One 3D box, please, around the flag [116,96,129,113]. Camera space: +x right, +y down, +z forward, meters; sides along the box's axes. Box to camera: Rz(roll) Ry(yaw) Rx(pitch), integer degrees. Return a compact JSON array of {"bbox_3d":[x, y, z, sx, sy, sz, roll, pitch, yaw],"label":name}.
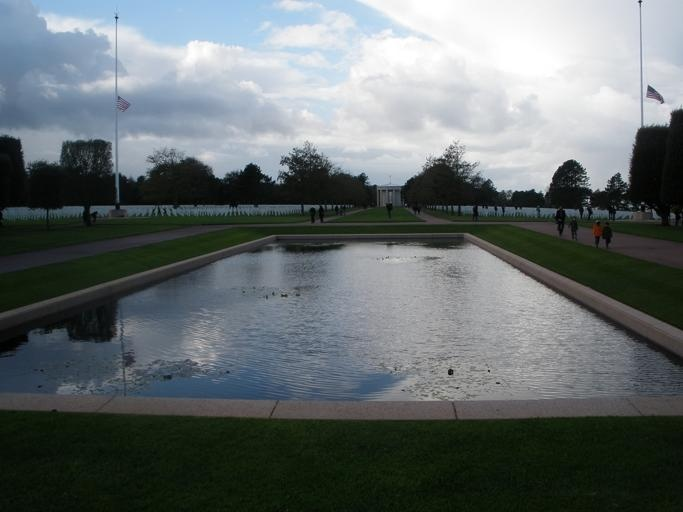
[{"bbox_3d":[-24.065,-16.601,62.669,1.001,1.836,3.845,-2,6,-21],"label":"flag"}]
